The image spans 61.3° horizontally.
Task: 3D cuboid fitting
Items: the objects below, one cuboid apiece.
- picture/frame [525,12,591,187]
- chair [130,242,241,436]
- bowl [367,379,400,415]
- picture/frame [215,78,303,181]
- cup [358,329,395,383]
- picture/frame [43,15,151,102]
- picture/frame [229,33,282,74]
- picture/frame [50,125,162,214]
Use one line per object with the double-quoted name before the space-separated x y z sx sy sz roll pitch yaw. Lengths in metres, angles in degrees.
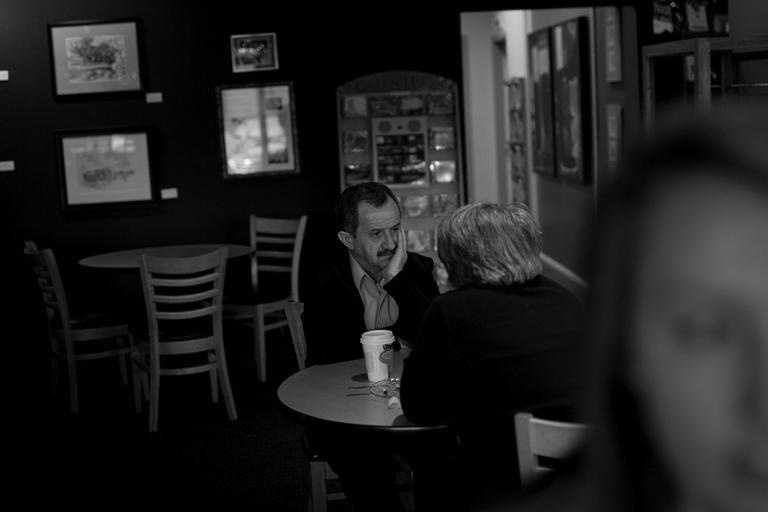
"picture/frame" 1.516 -1.360 5.619 0.448 1.389 1.642 -2 9 10
"chair" -1.183 0.442 3.748 0.567 1.051 1.054 -7 10 -18
"bowl" -0.001 0.360 1.688 0.081 0.022 0.207 -3 9 -1
"picture/frame" -1.034 -1.039 5.196 0.806 0.860 0.062 -5 6 -8
"cup" -0.022 0.261 1.737 0.137 0.137 0.128 -1 2 0
"picture/frame" -2.224 -1.511 4.939 0.686 0.537 0.073 -3 3 -2
"picture/frame" -1.039 -1.612 5.132 0.343 0.236 0.111 -1 2 -5
"picture/frame" -2.197 -0.686 5.031 0.686 0.555 0.064 -6 7 -5
